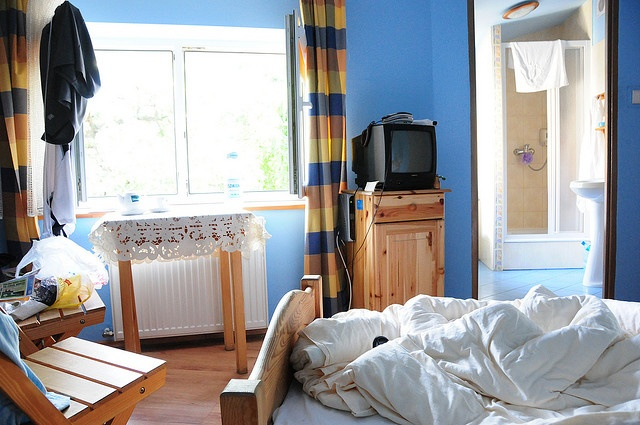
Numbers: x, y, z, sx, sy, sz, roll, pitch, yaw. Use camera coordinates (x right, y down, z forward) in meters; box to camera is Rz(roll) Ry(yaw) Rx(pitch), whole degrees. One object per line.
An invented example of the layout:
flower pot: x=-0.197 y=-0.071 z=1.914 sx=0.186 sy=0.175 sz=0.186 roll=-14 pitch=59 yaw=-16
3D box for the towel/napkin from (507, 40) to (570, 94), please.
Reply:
towel/napkin: x=2.408 y=-1.616 z=5.137 sx=0.753 sy=0.711 sz=0.105 roll=-2 pitch=8 yaw=3

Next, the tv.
tv: x=0.546 y=-0.391 z=3.552 sx=0.460 sy=0.415 sz=0.536 roll=-1 pitch=2 yaw=-29

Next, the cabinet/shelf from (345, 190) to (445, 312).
cabinet/shelf: x=0.602 y=0.303 z=3.675 sx=0.640 sy=1.140 sz=0.630 roll=-5 pitch=14 yaw=-6

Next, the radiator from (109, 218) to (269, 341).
radiator: x=-0.987 y=0.472 z=3.385 sx=0.891 sy=0.673 sz=0.075 roll=-2 pitch=7 yaw=-7
